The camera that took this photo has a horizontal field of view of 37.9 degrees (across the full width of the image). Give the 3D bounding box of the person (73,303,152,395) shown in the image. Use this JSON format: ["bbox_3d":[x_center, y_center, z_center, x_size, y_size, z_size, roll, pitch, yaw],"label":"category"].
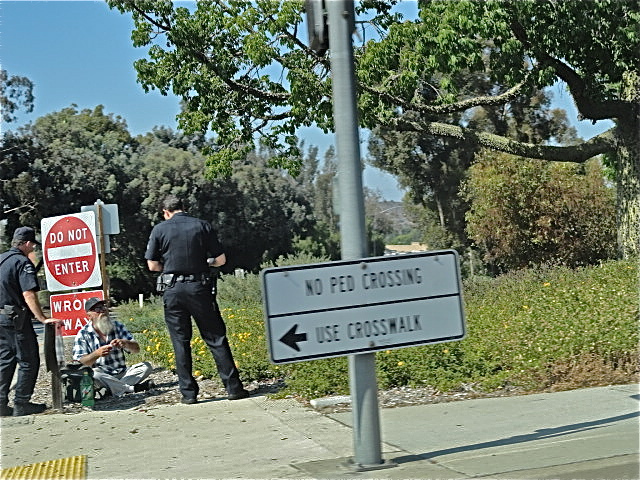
[{"bbox_3d":[-3.348,1.713,14.843,1.326,1.469,1.056,-6,4,-35],"label":"person"}]

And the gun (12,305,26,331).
[{"bbox_3d":[-4.514,1.177,14.047,0.186,0.348,0.131,-8,15,-16],"label":"gun"}]
